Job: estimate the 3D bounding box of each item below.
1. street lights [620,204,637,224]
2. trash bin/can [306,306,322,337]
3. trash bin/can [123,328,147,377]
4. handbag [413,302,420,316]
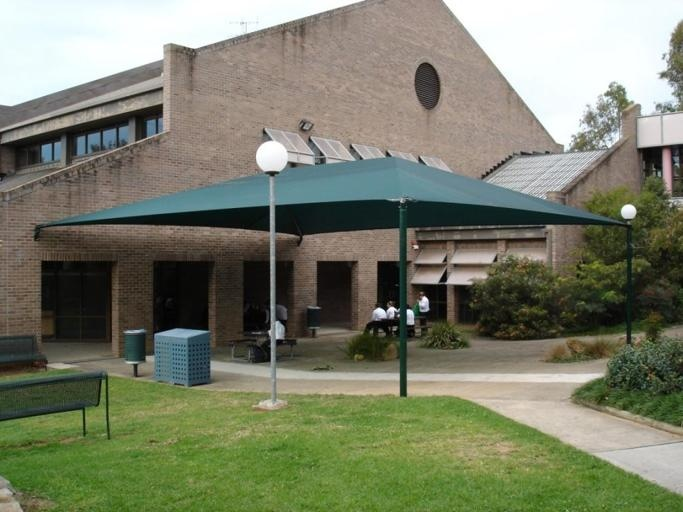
[{"bbox_3d":[8.271,-1.227,21.668,0.318,0.572,1.256,-3,-6,23],"label":"street lights"},{"bbox_3d":[-1.056,2.616,29.837,0.484,1.214,1.004,-1,-5,1],"label":"trash bin/can"},{"bbox_3d":[-5.394,2.587,19.922,0.497,1.210,0.435,0,-5,-8],"label":"trash bin/can"},{"bbox_3d":[3.195,2.279,31.497,0.413,0.717,0.478,-1,-1,1],"label":"handbag"}]
